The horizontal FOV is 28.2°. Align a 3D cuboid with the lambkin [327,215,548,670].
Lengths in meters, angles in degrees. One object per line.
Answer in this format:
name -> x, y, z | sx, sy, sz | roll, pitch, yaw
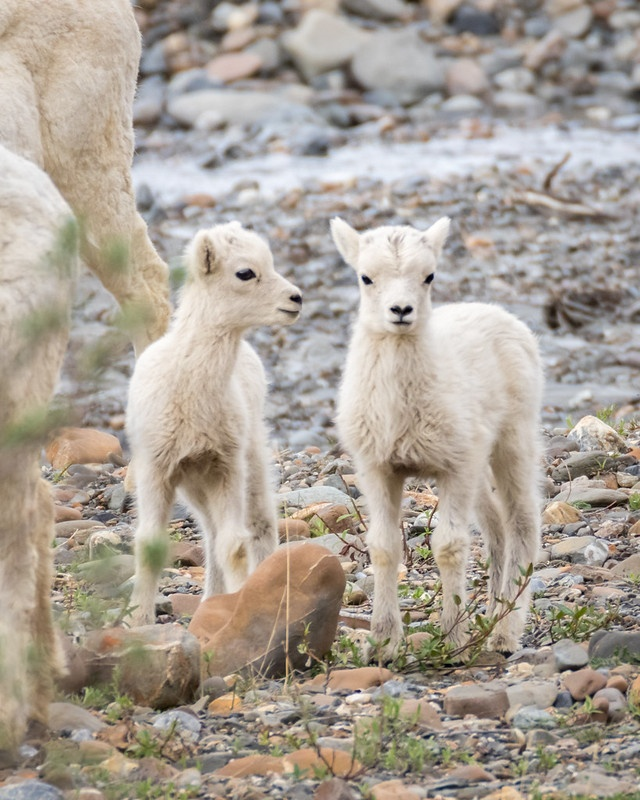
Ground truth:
lambkin -> 0.526, 0.152, 5.830 | 0.769, 1.872, 1.107 | 1, 3, 21
